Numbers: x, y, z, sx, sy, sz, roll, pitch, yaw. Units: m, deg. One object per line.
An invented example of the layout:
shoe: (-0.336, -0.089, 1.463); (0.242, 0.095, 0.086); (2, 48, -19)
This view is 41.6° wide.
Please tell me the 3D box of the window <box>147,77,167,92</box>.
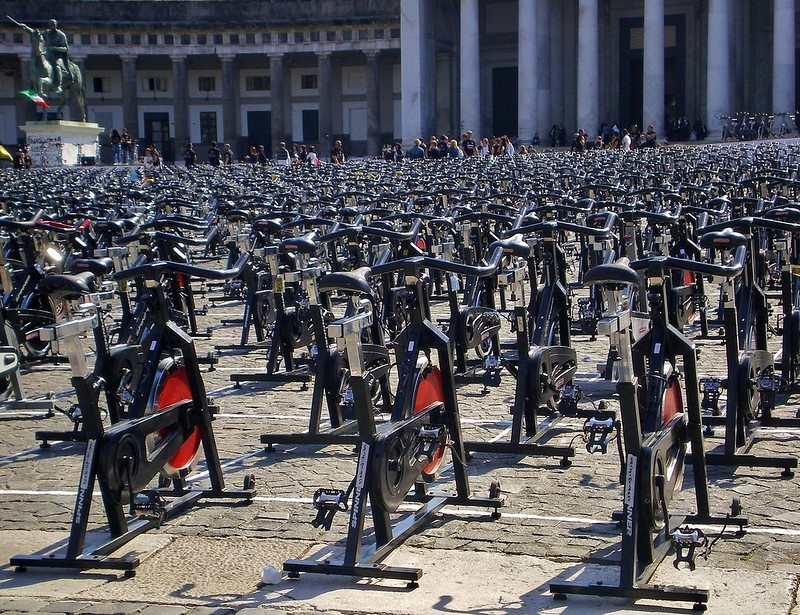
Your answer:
window: (-15.851, -14.724, 68.860); (0.971, 0.712, 0.084); (1, 1, -12)

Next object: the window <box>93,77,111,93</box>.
window: (-19.375, -14.622, 68.704); (1.037, 1.067, 0.052); (1, 1, -14)

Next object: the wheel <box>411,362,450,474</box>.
wheel: (0.183, 0.651, 6.460); (0.143, 0.663, 0.575); (1, 15, 24)
